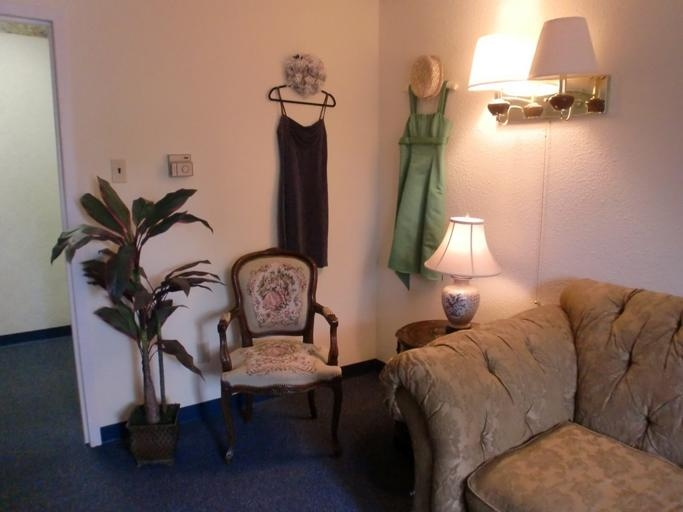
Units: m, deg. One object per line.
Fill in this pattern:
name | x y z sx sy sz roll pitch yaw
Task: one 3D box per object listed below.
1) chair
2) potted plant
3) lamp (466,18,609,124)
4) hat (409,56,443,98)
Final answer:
chair | -0.371 0.538 3.377 0.701 1.055 0.826 -2 15 -5
potted plant | -1.119 0.349 3.125 0.820 1.571 0.613 -6 16 -19
lamp | 0.992 -0.939 2.890 0.357 0.520 0.695 -12 19 -36
hat | 0.525 -1.126 3.479 0.054 0.239 0.236 -7 51 -25
